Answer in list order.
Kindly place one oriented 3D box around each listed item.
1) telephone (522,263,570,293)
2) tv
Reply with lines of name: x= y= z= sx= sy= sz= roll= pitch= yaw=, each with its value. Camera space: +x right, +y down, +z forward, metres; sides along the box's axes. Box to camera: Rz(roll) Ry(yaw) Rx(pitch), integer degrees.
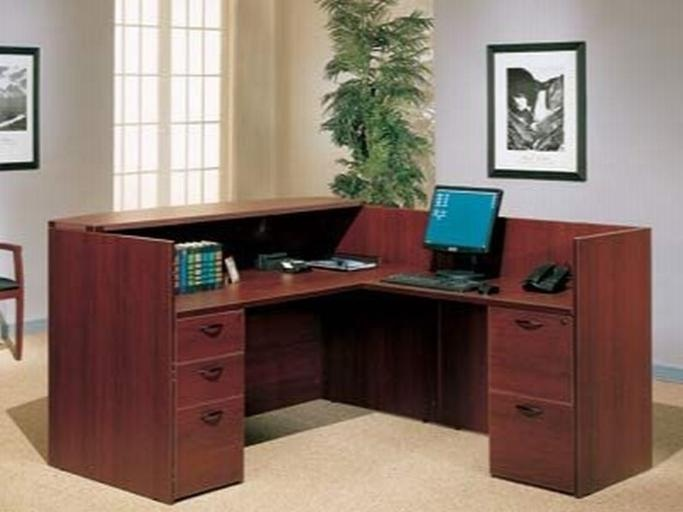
telephone: x=1.008 y=0.105 z=2.891 sx=0.143 sy=0.063 sz=0.180 roll=8 pitch=19 yaw=41
tv: x=0.706 y=-0.127 z=3.350 sx=0.282 sy=0.489 sz=0.435 roll=7 pitch=1 yaw=-42
